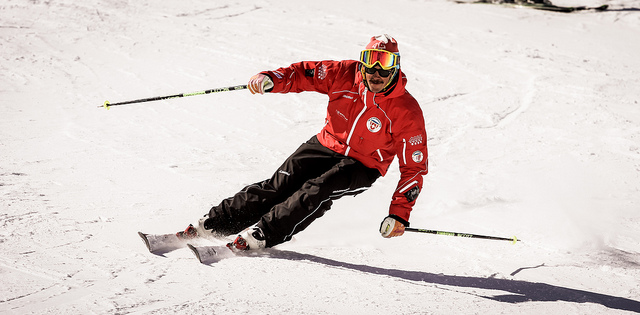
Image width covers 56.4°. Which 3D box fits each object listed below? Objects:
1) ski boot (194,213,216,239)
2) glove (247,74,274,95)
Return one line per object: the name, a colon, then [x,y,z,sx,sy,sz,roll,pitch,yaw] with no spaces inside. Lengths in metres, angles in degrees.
ski boot: [-2.097,1.253,10.991,0.417,0.382,0.189,1,13,6]
glove: [-1.122,-1.379,11.119,0.467,0.173,0.386,-9,39,25]
